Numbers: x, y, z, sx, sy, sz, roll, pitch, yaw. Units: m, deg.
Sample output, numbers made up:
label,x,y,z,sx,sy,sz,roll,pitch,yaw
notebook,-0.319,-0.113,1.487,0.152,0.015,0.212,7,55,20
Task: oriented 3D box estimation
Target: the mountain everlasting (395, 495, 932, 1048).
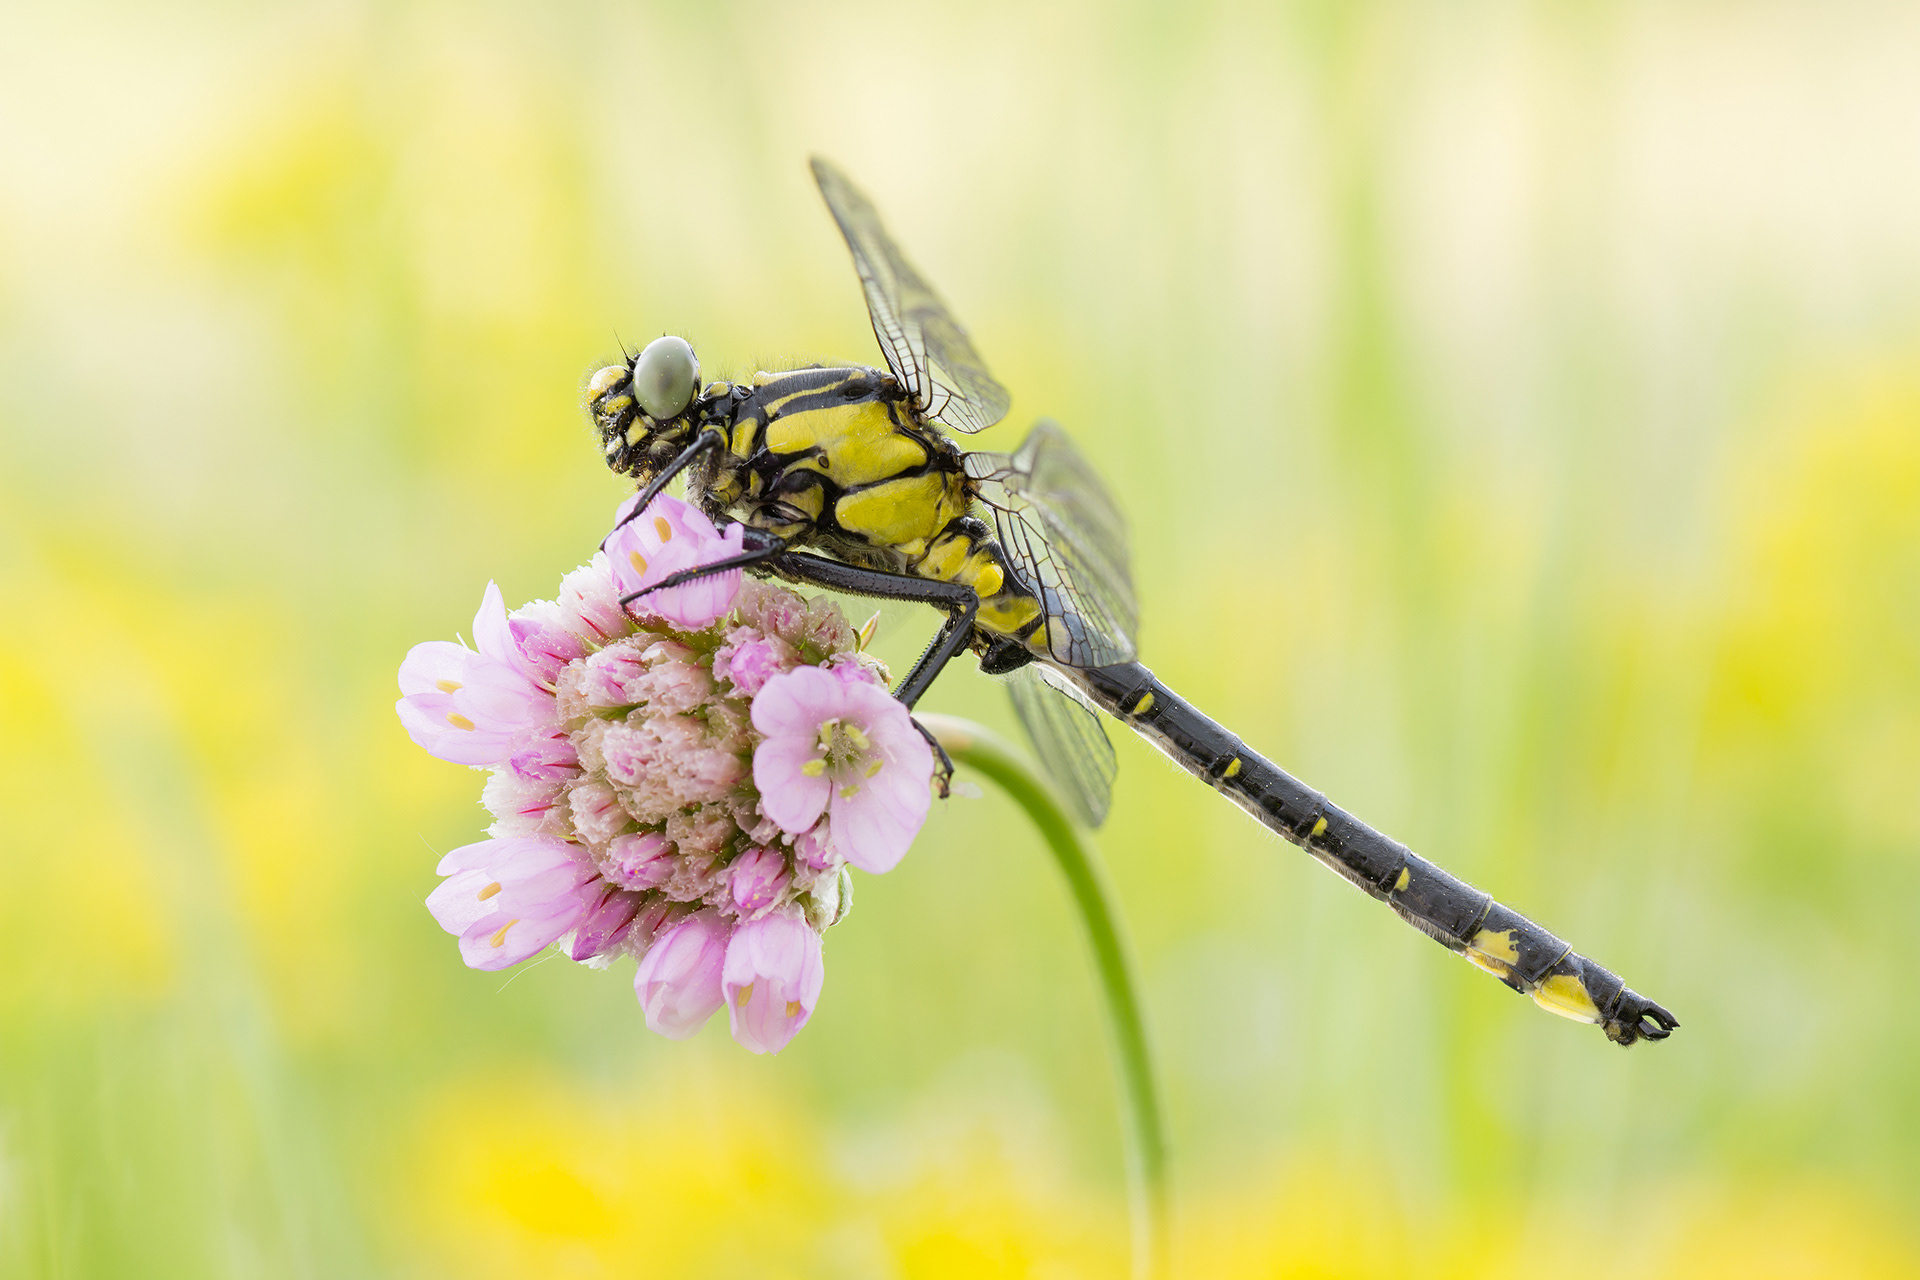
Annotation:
label,x,y,z,sx,sy,sz,roll,pitch,yaw
mountain everlasting,-0.507,0.281,3.706,0.990,1.015,0.490,19,-14,4
